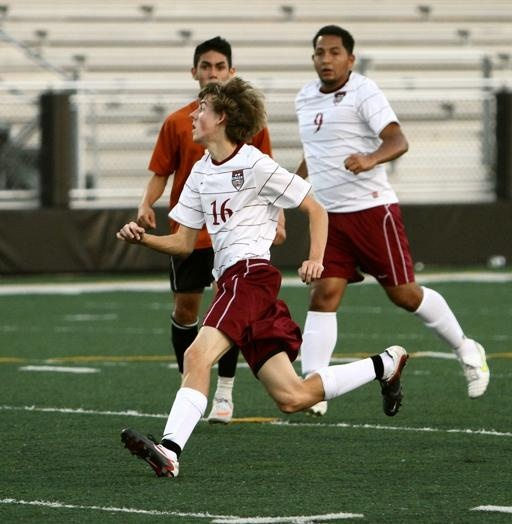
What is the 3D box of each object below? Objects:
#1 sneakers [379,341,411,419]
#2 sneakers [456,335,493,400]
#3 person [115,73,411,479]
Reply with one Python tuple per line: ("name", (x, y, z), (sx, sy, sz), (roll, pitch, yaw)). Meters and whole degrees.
("sneakers", (0.693, 0.601, 4.744), (0.210, 0.351, 0.131), (-3, 19, -12))
("sneakers", (1.239, 0.612, 5.414), (0.195, 0.137, 0.372), (31, 35, -21))
("person", (0.045, 0.024, 4.067), (0.982, 1.653, 0.819), (0, 8, -1))
